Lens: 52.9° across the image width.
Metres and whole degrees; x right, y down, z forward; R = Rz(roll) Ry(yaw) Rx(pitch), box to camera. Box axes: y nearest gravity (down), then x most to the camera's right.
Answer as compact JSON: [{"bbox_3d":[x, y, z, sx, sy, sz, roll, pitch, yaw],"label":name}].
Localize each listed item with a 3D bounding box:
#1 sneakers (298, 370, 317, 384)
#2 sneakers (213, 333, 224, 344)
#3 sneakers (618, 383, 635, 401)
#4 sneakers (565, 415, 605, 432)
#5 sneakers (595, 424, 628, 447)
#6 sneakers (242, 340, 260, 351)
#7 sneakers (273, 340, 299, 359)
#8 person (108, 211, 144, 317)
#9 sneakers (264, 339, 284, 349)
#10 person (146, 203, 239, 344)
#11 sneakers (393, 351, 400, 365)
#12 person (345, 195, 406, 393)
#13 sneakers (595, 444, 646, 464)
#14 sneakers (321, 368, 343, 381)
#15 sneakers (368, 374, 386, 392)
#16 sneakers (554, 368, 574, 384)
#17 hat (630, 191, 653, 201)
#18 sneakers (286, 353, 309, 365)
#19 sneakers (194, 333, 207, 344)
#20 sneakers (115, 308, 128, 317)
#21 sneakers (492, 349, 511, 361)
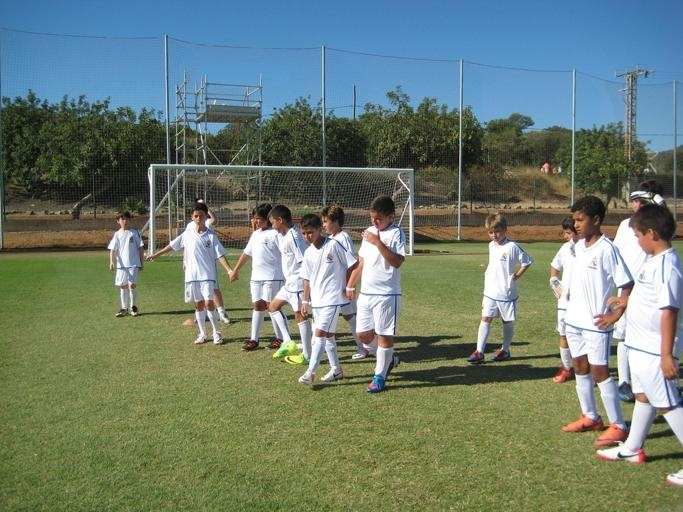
[{"bbox_3d":[-0.377,1.327,7.519,0.208,0.139,0.102,5,-1,-5],"label":"sneakers"},{"bbox_3d":[-1.642,1.072,9.112,0.121,0.159,0.315,-3,13,-10],"label":"sneakers"},{"bbox_3d":[2.987,1.440,7.223,0.106,0.143,0.295,-2,-10,2],"label":"sneakers"},{"bbox_3d":[2.273,1.568,6.424,0.328,0.149,0.164,0,-5,-1],"label":"sneakers"},{"bbox_3d":[2.446,1.614,6.268,0.344,0.161,0.138,-12,-1,-26],"label":"sneakers"},{"bbox_3d":[-1.163,1.156,8.848,0.240,0.126,0.089,5,-7,-40],"label":"sneakers"},{"bbox_3d":[-0.684,1.145,8.436,0.297,0.145,0.175,-12,-3,32],"label":"sneakers"},{"bbox_3d":[-3.383,0.129,10.838,0.496,1.588,0.991,-5,13,-20],"label":"person"},{"bbox_3d":[-0.883,1.131,8.875,0.083,0.111,0.243,-5,-10,36],"label":"sneakers"},{"bbox_3d":[-1.940,0.229,9.432,0.739,1.919,1.411,-4,13,-17],"label":"person"},{"bbox_3d":[0.637,1.223,7.957,0.058,0.192,0.081,1,47,9],"label":"sneakers"},{"bbox_3d":[0.370,0.396,7.441,0.625,2.049,0.709,0,12,3],"label":"person"},{"bbox_3d":[2.436,1.732,6.038,0.412,0.187,0.163,0,-1,16],"label":"sneakers"},{"bbox_3d":[-0.095,1.332,7.699,0.286,0.135,0.096,-1,0,-35],"label":"sneakers"},{"bbox_3d":[0.377,1.376,7.398,0.106,0.146,0.223,0,-7,27],"label":"sneakers"},{"bbox_3d":[2.481,1.330,7.652,0.295,0.136,0.103,5,-7,-44],"label":"sneakers"},{"bbox_3d":[3.420,-0.692,7.856,0.163,0.097,0.130,2,-6,19],"label":"hat"},{"bbox_3d":[-0.542,1.219,8.182,0.216,0.100,0.132,3,-3,4],"label":"sneakers"},{"bbox_3d":[-1.859,1.080,9.036,0.167,0.114,0.216,-3,13,-13],"label":"sneakers"},{"bbox_3d":[-3.376,0.854,10.523,0.180,0.107,0.323,-5,13,-19],"label":"sneakers"},{"bbox_3d":[1.941,1.206,8.370,0.091,0.121,0.281,-4,-4,44],"label":"sneakers"}]
